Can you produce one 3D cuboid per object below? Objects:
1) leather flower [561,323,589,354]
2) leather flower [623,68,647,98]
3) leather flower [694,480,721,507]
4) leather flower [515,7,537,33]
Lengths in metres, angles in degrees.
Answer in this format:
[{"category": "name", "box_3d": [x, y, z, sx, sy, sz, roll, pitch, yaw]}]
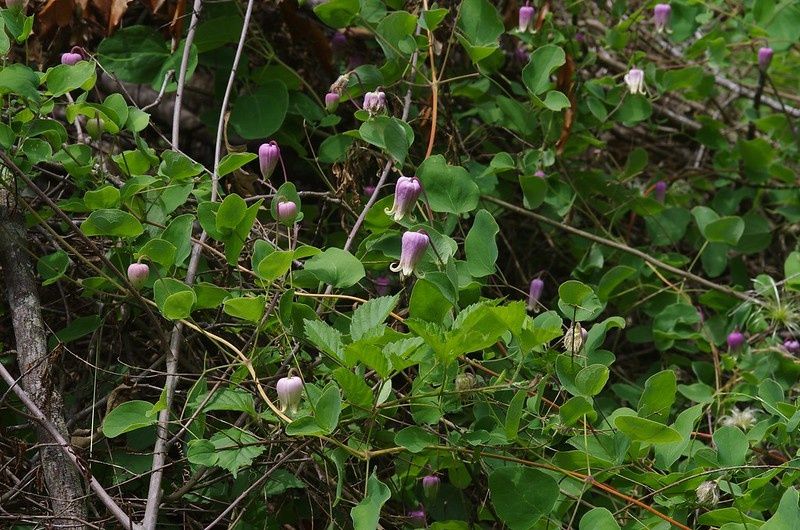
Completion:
[{"category": "leather flower", "box_3d": [0.501, 0.214, 2.616, 0.065, 0.098, 0.055, 14, 4, 25]}, {"category": "leather flower", "box_3d": [0.801, -0.633, 3.140, 0.074, 0.114, 0.082, 0, 6, 15]}, {"category": "leather flower", "box_3d": [0.840, 0.635, 2.494, 0.054, 0.067, 0.060, 8, 1, 32]}, {"category": "leather flower", "box_3d": [0.451, -0.883, 3.250, 0.060, 0.071, 0.094, 16, 50, -14]}]
